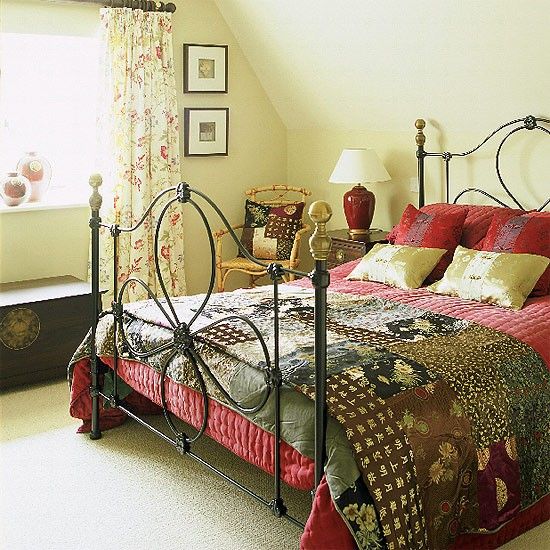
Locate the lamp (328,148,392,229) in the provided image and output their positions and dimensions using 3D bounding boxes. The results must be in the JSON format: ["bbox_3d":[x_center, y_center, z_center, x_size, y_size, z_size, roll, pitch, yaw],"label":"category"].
[{"bbox_3d":[0.557,-0.572,3.675,0.605,0.601,0.532,-2,10,2],"label":"lamp"}]

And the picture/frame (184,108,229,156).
[{"bbox_3d":[-0.548,-1.111,4.184,0.441,0.369,0.042,-6,12,-38],"label":"picture/frame"}]

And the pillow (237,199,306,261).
[{"bbox_3d":[-0.036,-0.360,4.064,0.505,0.434,0.146,3,-11,29],"label":"pillow"}]

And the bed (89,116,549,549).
[{"bbox_3d":[0.475,-0.028,2.539,2.378,1.370,1.632,-7,12,-41],"label":"bed"}]

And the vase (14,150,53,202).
[{"bbox_3d":[-1.605,-0.665,3.665,0.302,0.316,0.284,10,17,20],"label":"vase"}]

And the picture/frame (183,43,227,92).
[{"bbox_3d":[-0.544,-1.576,4.105,0.465,0.372,0.051,-5,9,-38],"label":"picture/frame"}]
